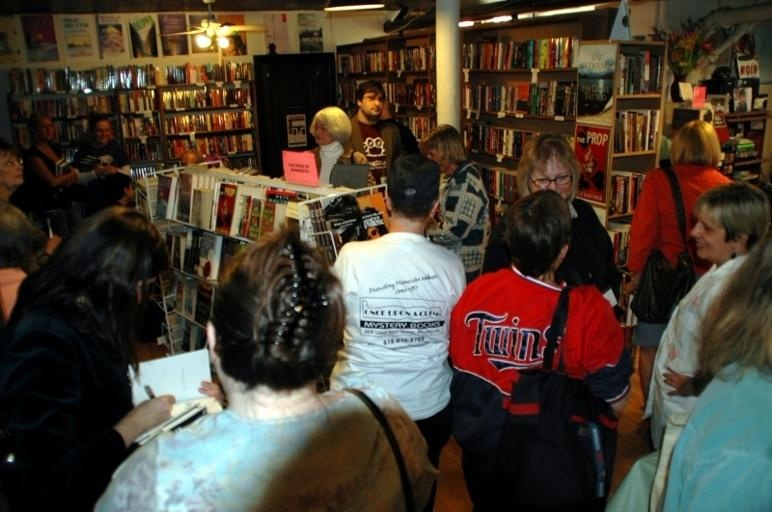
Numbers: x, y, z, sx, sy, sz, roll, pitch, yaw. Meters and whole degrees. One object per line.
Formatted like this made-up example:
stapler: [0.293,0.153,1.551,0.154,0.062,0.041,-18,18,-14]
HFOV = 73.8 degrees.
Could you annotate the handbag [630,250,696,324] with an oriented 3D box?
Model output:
handbag: [1.840,0.202,3.398,0.407,0.587,0.310,8,5,18]

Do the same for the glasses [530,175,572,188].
glasses: [1.005,-0.456,3.120,0.223,0.066,0.042,2,10,16]

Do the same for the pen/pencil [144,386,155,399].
pen/pencil: [-1.055,0.613,2.302,0.014,0.059,0.007,-21,0,9]
